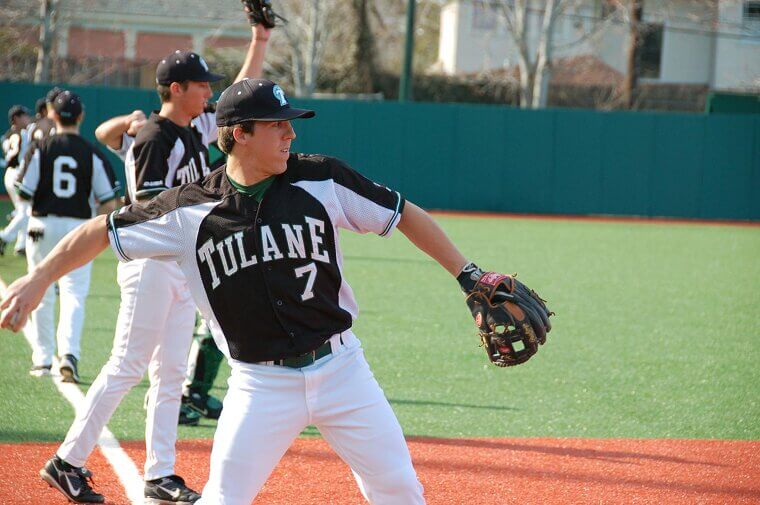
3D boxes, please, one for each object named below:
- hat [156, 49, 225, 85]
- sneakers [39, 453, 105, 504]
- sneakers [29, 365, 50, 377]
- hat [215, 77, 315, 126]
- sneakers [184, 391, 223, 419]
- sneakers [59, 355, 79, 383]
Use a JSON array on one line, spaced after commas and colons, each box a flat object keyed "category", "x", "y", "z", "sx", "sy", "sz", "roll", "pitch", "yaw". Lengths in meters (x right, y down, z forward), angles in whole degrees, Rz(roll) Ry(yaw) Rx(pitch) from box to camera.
[{"category": "hat", "x": -1.833, "y": -1.802, "z": 9.820, "sx": 0.633, "sy": 0.325, "sz": 0.406, "roll": -3, "pitch": 17, "yaw": 0}, {"category": "sneakers", "x": -2.788, "y": 2.081, "z": 9.234, "sx": 0.500, "sy": 0.259, "sz": 0.176, "roll": 35, "pitch": 12, "yaw": -6}, {"category": "sneakers", "x": -3.622, "y": 1.283, "z": 10.939, "sx": 0.233, "sy": 0.096, "sz": 0.098, "roll": 5, "pitch": 1, "yaw": 0}, {"category": "hat", "x": -0.951, "y": -1.308, "z": 8.580, "sx": 0.836, "sy": 0.335, "sz": 0.526, "roll": -1, "pitch": 15, "yaw": 18}, {"category": "sneakers", "x": -1.768, "y": 1.542, "z": 10.145, "sx": 0.443, "sy": 0.194, "sz": 0.156, "roll": 25, "pitch": 4, "yaw": -4}, {"category": "sneakers", "x": -3.259, "y": 1.241, "z": 10.741, "sx": 0.143, "sy": 0.328, "sz": 0.161, "roll": 1, "pitch": 51, "yaw": -5}]
